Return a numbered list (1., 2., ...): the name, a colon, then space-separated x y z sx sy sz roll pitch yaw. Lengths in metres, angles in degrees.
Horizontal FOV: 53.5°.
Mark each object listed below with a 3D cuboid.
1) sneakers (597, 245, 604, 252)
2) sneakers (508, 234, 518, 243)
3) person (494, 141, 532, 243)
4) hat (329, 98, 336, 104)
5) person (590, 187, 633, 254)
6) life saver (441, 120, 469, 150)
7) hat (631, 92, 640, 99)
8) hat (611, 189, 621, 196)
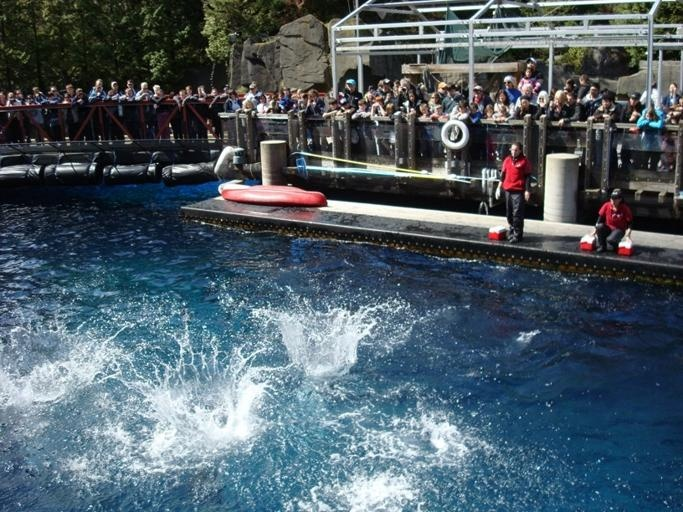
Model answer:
1. sneakers: 5.308 -0.155 13.722 0.134 0.123 0.078 2 4 3
2. sneakers: 3.725 -0.377 14.509 0.196 0.180 0.117 -1 4 23
3. person: 3.757 -1.344 14.400 0.546 2.087 0.475 -1 9 -4
4. hat: -0.250 -4.279 18.565 0.135 0.154 0.156 12 6 26
5. person: 5.561 -0.619 13.710 0.660 1.015 0.393 3 9 19
6. life saver: 2.848 -3.004 16.733 0.710 0.759 0.243 8 12 44
7. hat: 6.855 -3.714 15.611 0.170 0.158 0.404 3 8 21
8. hat: 5.494 -1.249 13.393 0.182 0.153 0.304 -3 22 24
